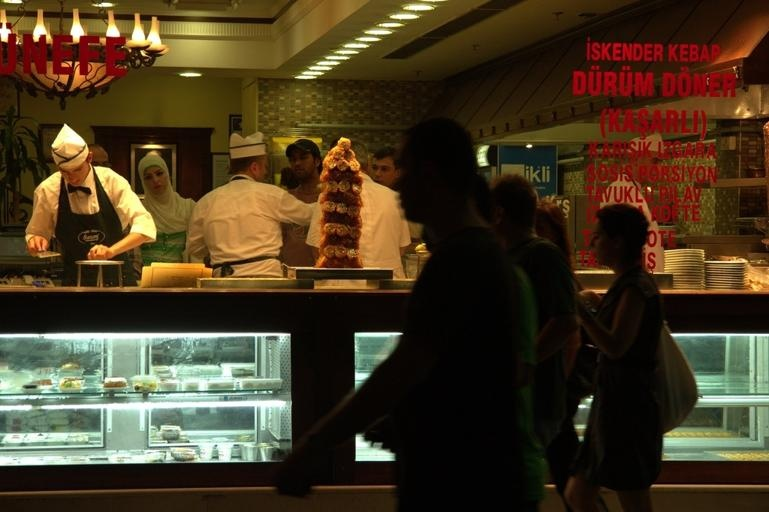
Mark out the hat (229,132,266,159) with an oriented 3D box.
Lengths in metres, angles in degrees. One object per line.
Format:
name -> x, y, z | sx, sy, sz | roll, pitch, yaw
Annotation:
hat -> -1.034, -0.839, 5.449 | 0.187, 0.155, 0.261 | -1, 4, 10

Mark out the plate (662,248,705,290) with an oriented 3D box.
plate -> 2.141, 0.091, 5.125 | 0.291, 0.248, 0.285 | 1, 4, 9

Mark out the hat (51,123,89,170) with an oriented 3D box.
hat -> -2.324, -0.797, 5.244 | 0.234, 0.331, 0.286 | -1, 1, -33

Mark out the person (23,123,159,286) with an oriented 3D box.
person -> -2.114, -0.382, 5.195 | 0.921, 1.136, 0.621 | 0, 1, 36
